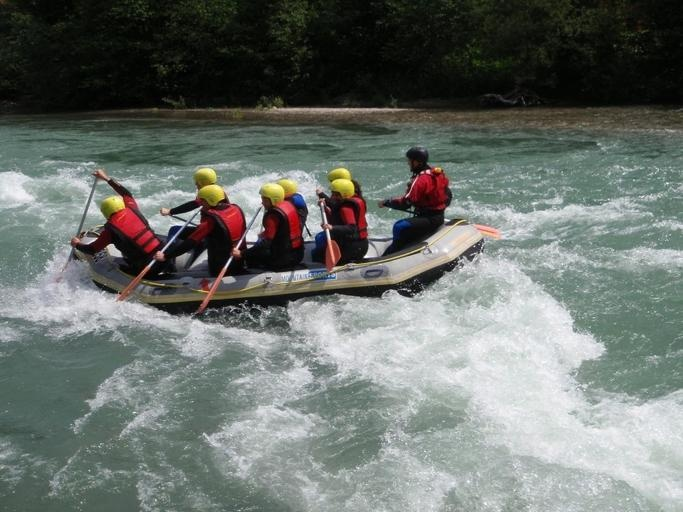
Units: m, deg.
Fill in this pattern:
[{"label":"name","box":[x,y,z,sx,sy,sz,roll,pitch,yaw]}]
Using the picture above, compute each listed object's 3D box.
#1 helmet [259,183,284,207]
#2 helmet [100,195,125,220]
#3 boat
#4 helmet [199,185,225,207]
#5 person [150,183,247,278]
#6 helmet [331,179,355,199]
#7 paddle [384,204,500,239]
[{"label":"helmet","box":[-0.989,-0.896,10.862,0.336,0.291,0.325,-7,17,-2]},{"label":"helmet","box":[-3.271,-0.688,10.798,0.331,0.310,0.294,-9,18,-9]},{"label":"boat","box":[-0.907,0.232,10.998,4.974,0.532,1.943,-1,15,1]},{"label":"helmet","box":[-1.845,-0.852,10.684,0.375,0.308,0.205,-8,19,-6]},{"label":"person","box":[-1.915,-0.339,10.761,1.158,1.358,0.427,-11,22,-12]},{"label":"helmet","box":[0.023,-0.981,11.089,0.306,0.280,0.153,-7,20,-3]},{"label":"paddle","box":[2.045,-0.465,12.399,2.722,0.085,0.516,8,13,-2]}]
